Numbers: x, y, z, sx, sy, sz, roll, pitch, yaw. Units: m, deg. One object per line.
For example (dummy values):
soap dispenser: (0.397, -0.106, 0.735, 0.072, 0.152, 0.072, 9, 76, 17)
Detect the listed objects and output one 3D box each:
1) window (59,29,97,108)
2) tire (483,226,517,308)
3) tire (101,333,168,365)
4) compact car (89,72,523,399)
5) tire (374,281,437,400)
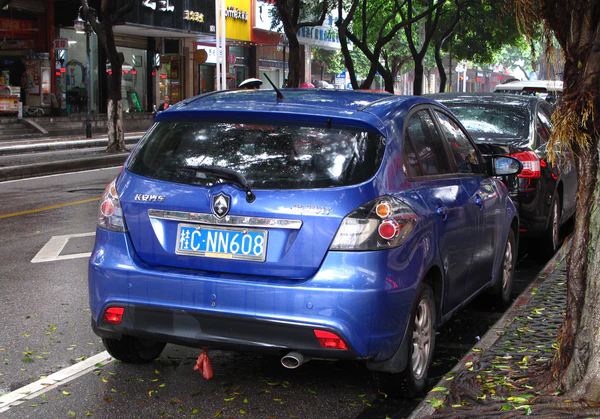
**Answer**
window: (-18.595, -12.429, 38.158, 2.482, 4.760, 2.689, -7, 15, -24)
tire: (2.092, 0.606, 4.755, 0.249, 0.855, 0.803, 0, 7, 14)
tire: (-1.321, 1.094, 3.537, 0.395, 0.149, 0.421, 2, -1, -6)
compact car: (0.159, 0.100, 4.854, 2.337, 2.116, 4.527, 2, 6, 16)
tire: (0.785, 0.888, 3.118, 0.200, 0.663, 0.614, -1, -11, 33)
